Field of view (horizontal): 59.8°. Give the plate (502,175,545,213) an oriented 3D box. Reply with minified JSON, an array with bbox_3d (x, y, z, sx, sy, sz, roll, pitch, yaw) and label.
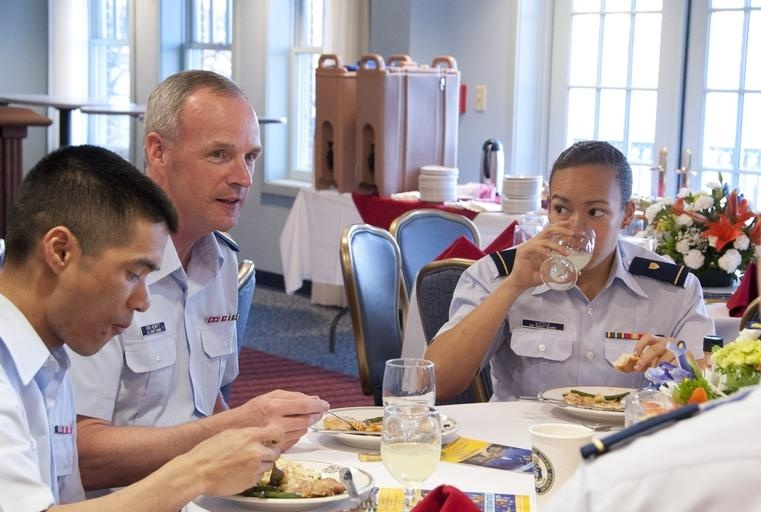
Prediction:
[{"bbox_3d":[0.857,-0.372,4.037,0.227,0.197,0.224,3,6,38],"label":"plate"}]

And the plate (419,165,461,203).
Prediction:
[{"bbox_3d":[0.394,-0.470,4.380,0.229,0.211,0.237,0,3,21],"label":"plate"}]

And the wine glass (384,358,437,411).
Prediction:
[{"bbox_3d":[0.066,0.283,1.490,0.104,0.110,0.109,3,-3,-2],"label":"wine glass"}]

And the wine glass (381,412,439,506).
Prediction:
[{"bbox_3d":[0.054,0.382,1.261,0.107,0.205,0.177,3,8,1],"label":"wine glass"}]

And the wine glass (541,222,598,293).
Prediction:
[{"bbox_3d":[0.505,-0.002,1.796,0.096,0.176,0.132,9,11,38],"label":"wine glass"}]
